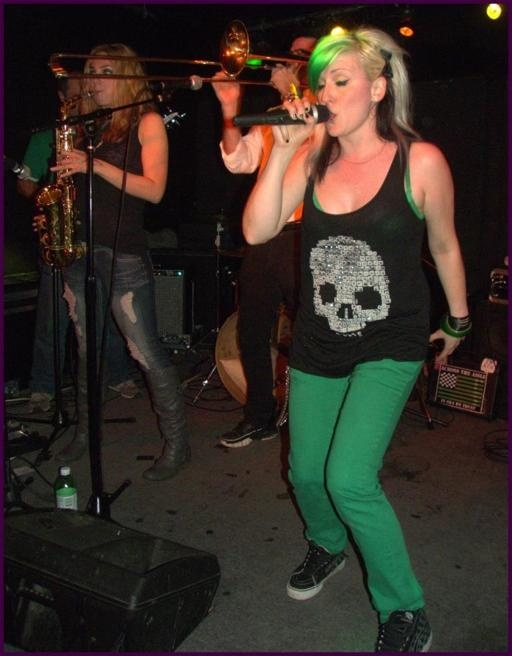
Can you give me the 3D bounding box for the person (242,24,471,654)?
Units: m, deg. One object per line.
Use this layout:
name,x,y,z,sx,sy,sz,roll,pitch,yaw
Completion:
person,0.326,0.074,1.606,0.558,1.778,0.509,3,12,1

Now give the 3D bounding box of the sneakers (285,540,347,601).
sneakers,0.168,0.827,1.928,0.123,0.153,0.251,5,7,41

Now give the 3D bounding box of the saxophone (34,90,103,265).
saxophone,-0.933,-0.578,2.575,0.346,0.943,0.327,-17,32,-43

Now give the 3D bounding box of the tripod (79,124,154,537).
tripod,-0.582,0.059,2.133,0.176,1.562,0.532,0,12,-13

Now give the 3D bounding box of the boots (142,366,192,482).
boots,-0.419,0.454,2.663,0.326,0.488,0.303,2,18,-7

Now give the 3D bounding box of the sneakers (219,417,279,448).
sneakers,-0.037,0.611,3.159,0.286,0.152,0.296,1,16,1

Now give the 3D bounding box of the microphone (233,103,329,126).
microphone,0.076,-0.556,1.453,0.226,0.056,0.156,7,12,26

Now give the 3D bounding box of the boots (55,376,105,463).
boots,-0.867,0.464,2.709,0.315,0.487,0.324,-2,20,-16
